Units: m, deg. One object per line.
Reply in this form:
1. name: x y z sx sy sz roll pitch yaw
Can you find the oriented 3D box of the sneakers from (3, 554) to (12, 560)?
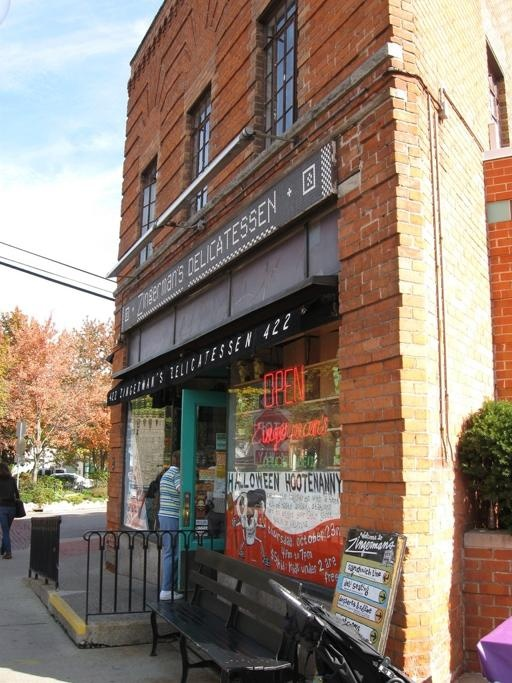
1. sneakers: -5.033 4.384 11.743 0.186 0.110 0.254 8 -14 -28
